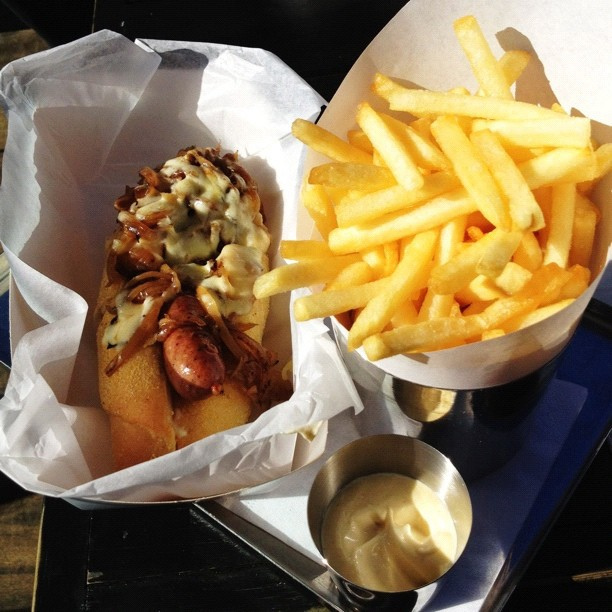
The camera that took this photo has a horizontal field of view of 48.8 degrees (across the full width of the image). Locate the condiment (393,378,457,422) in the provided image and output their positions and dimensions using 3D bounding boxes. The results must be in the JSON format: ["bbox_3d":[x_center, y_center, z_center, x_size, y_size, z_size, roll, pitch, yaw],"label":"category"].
[{"bbox_3d":[0.251,0.201,1.443,0.134,0.072,0.121,-5,20,-3],"label":"condiment"}]

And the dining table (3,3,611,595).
[{"bbox_3d":[0.117,-0.008,2.172,2.118,0.645,1.678,3,84,12],"label":"dining table"}]

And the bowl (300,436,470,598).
[{"bbox_3d":[0.173,0.478,1.490,0.458,0.115,0.338,-2,49,8],"label":"bowl"}]
